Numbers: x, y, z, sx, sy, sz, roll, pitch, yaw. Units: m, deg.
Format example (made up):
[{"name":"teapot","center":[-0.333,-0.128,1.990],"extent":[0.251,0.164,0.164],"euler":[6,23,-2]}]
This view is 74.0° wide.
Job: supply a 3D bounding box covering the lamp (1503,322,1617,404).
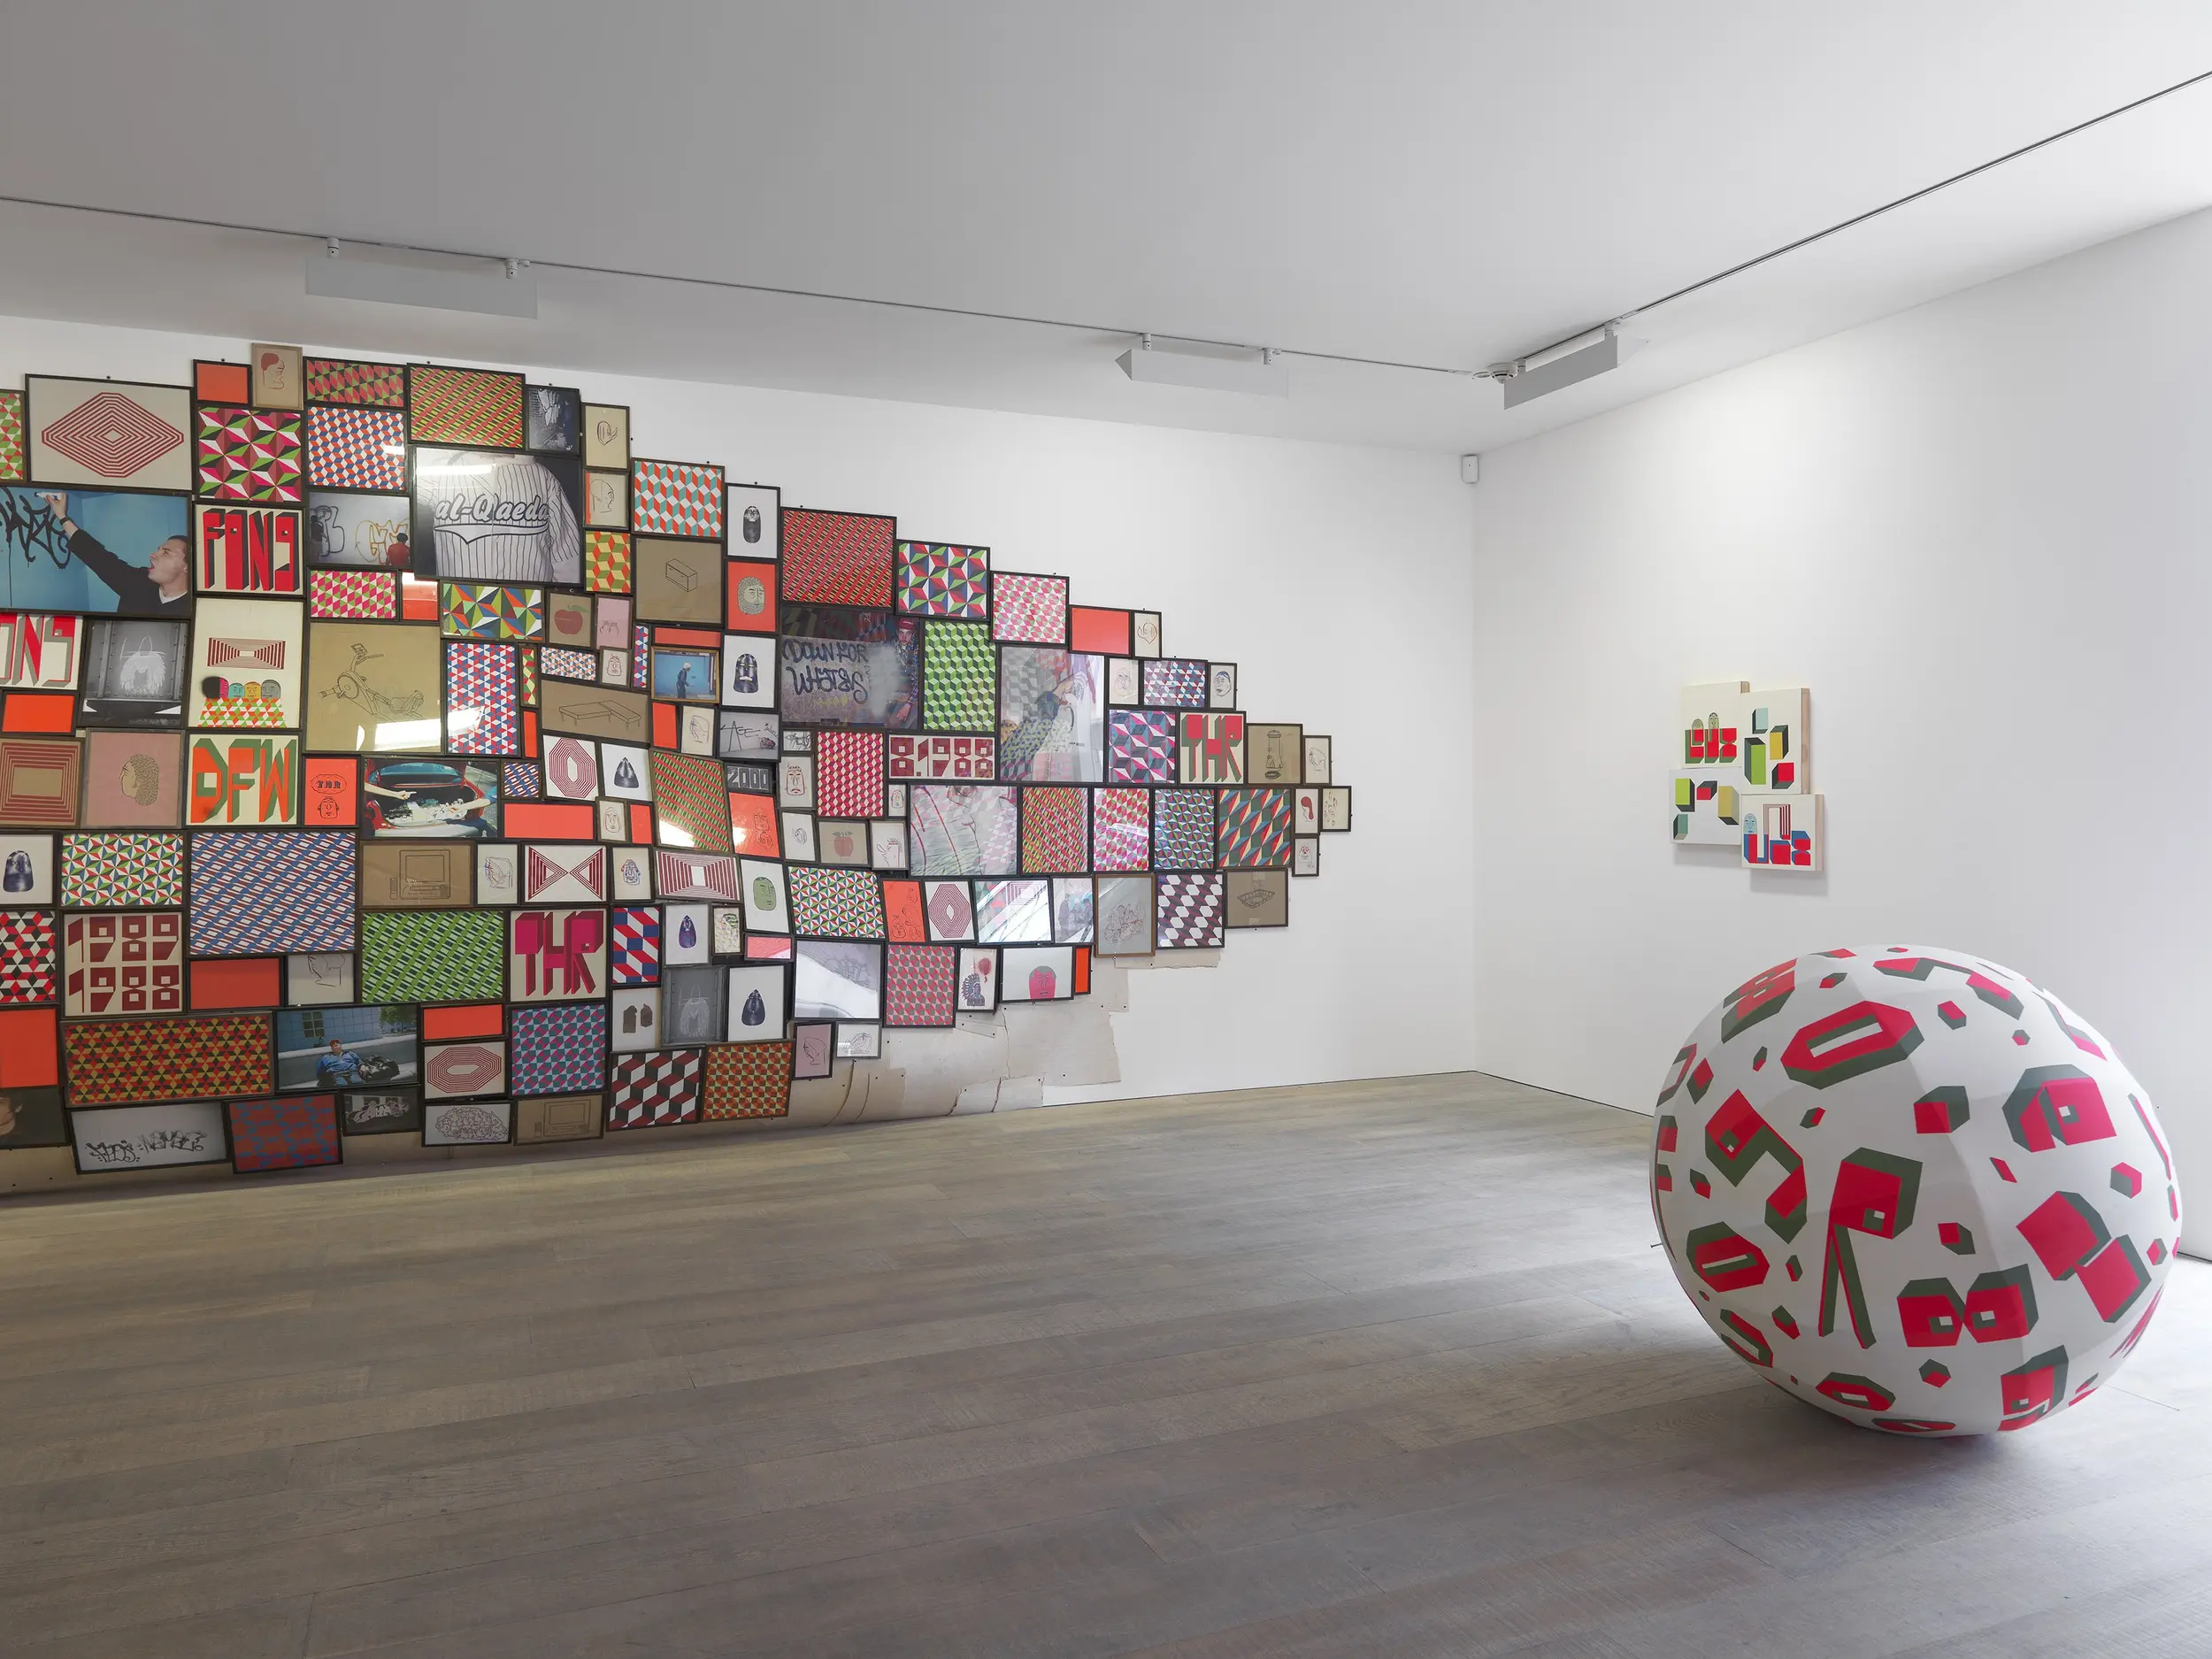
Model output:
[{"name":"lamp","center":[1.777,-1.837,5.806],"extent":[0.199,0.175,0.657],"euler":[-3,7,-29]}]
